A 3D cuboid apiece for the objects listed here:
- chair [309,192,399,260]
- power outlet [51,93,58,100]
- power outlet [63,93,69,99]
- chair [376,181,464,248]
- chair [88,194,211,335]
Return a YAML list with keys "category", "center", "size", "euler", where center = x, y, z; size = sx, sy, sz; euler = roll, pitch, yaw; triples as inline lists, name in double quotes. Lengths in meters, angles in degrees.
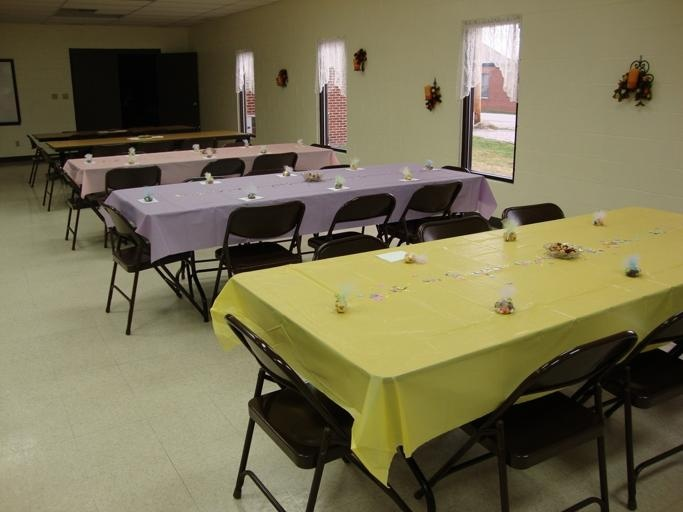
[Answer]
- category: "chair"
  center: [0.081, -0.358, 4.269]
  size: [0.503, 0.875, 0.655]
  euler: [-13, 31, -25]
- category: "power outlet"
  center: [-6.997, -3.889, 11.963]
  size: [0.172, 0.173, 0.039]
  euler: [6, 0, -30]
- category: "power outlet"
  center: [-6.783, -3.917, 12.070]
  size: [0.156, 0.126, 0.020]
  euler: [-11, 21, -33]
- category: "chair"
  center: [0.729, -0.242, 4.644]
  size: [0.572, 0.894, 0.666]
  euler: [0, 7, -22]
- category: "chair"
  center: [-1.535, 0.040, 4.045]
  size: [0.767, 0.951, 0.635]
  euler: [-7, 20, -32]
